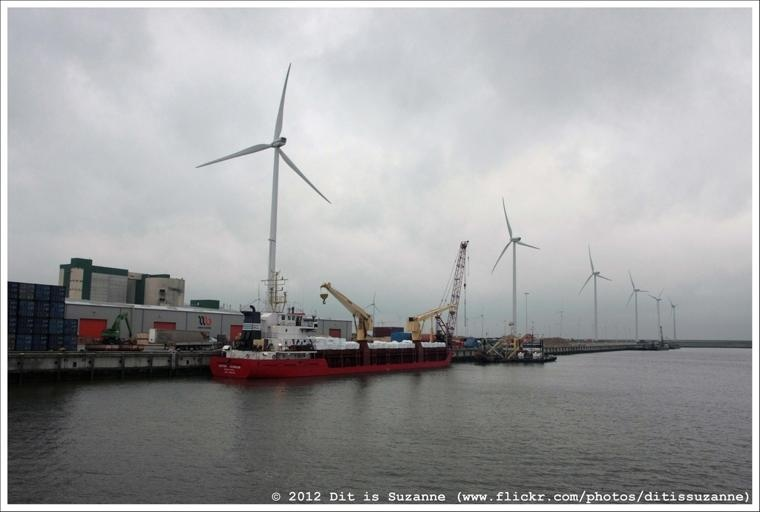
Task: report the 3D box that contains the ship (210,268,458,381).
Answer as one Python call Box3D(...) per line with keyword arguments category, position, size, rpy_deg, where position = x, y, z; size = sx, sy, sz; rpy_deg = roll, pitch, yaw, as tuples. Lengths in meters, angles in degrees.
Box3D(category="ship", position=(-3.673, 9.369, 72.496), size=(32.033, 10.020, 9.395), rpy_deg=(7, -5, -44))

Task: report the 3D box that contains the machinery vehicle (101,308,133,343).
Box3D(category="machinery vehicle", position=(-29.195, 8.055, 64.136), size=(1.265, 3.256, 3.279), rpy_deg=(14, 2, 42))
